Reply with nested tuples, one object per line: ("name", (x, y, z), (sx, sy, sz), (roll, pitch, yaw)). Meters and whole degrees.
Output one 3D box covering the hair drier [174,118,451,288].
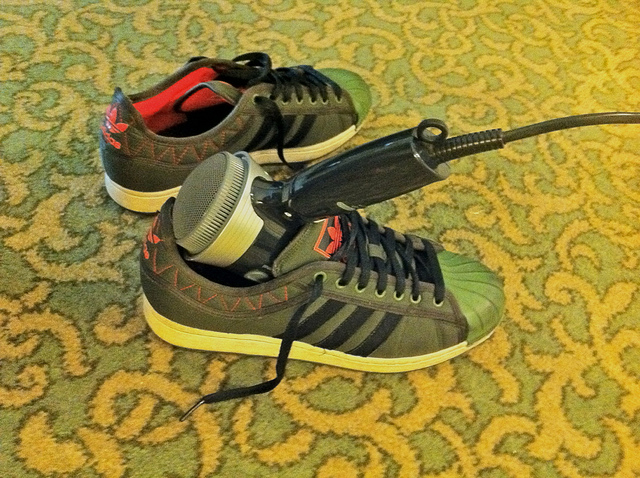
("hair drier", (-0.036, -0.046, 1.014), (0.149, 0.412, 0.141), (51, 44, -18))
